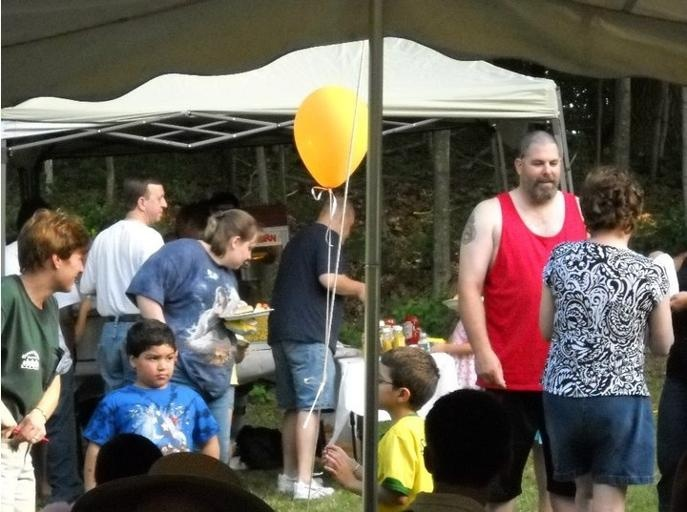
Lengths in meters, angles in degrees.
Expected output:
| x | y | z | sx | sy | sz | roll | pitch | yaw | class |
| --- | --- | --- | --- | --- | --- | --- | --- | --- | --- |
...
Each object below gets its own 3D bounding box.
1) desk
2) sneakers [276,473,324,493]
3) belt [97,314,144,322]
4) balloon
| x | y | z | sx | sy | sz | roll | pitch | yaw | class |
| --- | --- | --- | --- | --- | --- | --- | --- | --- | --- |
| 0.375 | 1.102 | 6.727 | 1.072 | 0.773 | 1.050 | -1 | -15 | -23 | desk |
| -0.304 | 1.591 | 6.581 | 0.349 | 0.159 | 0.127 | -2 | 2 | -43 | sneakers |
| -1.452 | 0.410 | 6.063 | 0.393 | 0.059 | 0.106 | -2 | -1 | 31 | belt |
| -0.054 | -0.687 | 5.038 | 0.503 | 0.692 | 0.524 | 2 | -9 | 0 | balloon |
